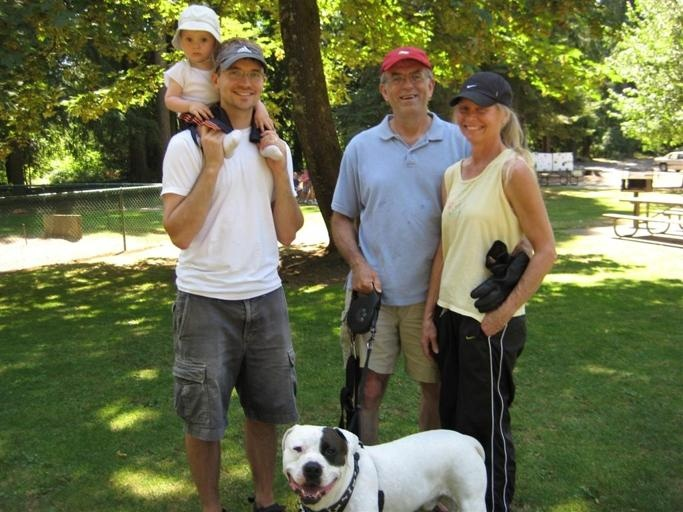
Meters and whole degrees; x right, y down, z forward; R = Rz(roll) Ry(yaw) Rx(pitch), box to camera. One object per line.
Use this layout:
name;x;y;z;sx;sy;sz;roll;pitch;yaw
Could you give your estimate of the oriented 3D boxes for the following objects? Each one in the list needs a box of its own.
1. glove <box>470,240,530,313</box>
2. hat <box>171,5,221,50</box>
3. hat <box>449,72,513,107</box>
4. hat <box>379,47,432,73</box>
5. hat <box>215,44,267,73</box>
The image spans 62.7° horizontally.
glove;1.189;0.168;4.368;0.561;0.377;0.207;-42;-3;2
hat;-1.182;-1.967;4.762;0.274;0.245;0.425;-1;11;-1
hat;1.115;-1.251;4.318;0.377;0.223;0.273;2;13;-35
hat;0.533;-1.705;4.714;0.307;0.250;0.521;-1;21;7
hat;-0.758;-1.504;4.181;0.374;0.210;0.223;-4;11;-10
